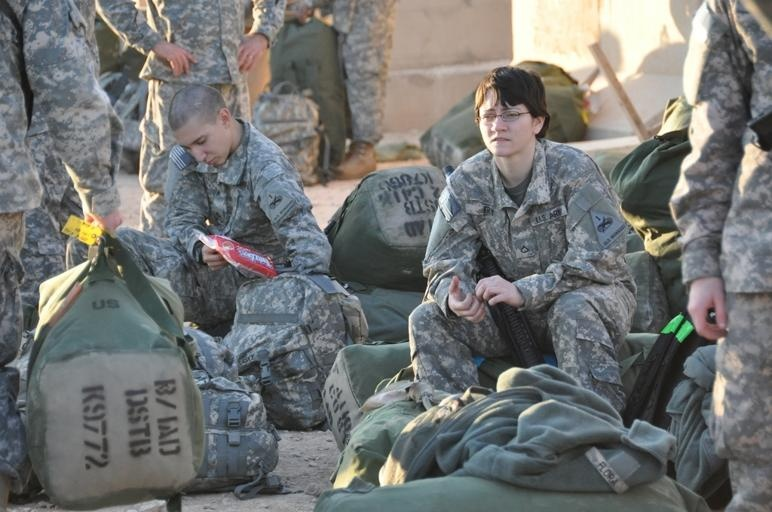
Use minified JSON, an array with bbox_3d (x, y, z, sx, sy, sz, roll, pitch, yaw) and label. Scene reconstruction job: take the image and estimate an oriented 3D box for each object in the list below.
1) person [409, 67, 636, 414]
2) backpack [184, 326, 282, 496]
[{"bbox_3d":[0.571,-0.088,6.559,1.022,1.453,0.442,-5,1,9],"label":"person"},{"bbox_3d":[-0.673,0.714,6.456,0.594,0.643,0.255,-2,-13,-4],"label":"backpack"}]
